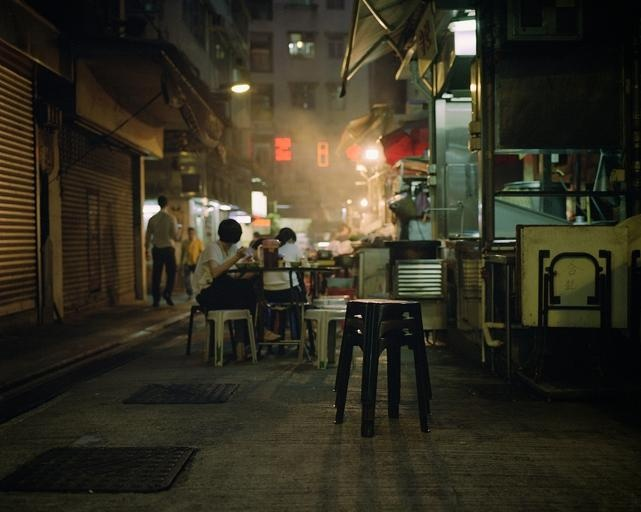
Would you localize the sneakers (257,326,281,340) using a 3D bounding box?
[{"bbox_3d":[-0.780,1.181,12.396,0.242,0.119,0.136,0,2,20],"label":"sneakers"}]

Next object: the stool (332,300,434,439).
[{"bbox_3d":[0.684,1.147,9.606,1.216,1.860,1.190,-1,3,-21],"label":"stool"}]
